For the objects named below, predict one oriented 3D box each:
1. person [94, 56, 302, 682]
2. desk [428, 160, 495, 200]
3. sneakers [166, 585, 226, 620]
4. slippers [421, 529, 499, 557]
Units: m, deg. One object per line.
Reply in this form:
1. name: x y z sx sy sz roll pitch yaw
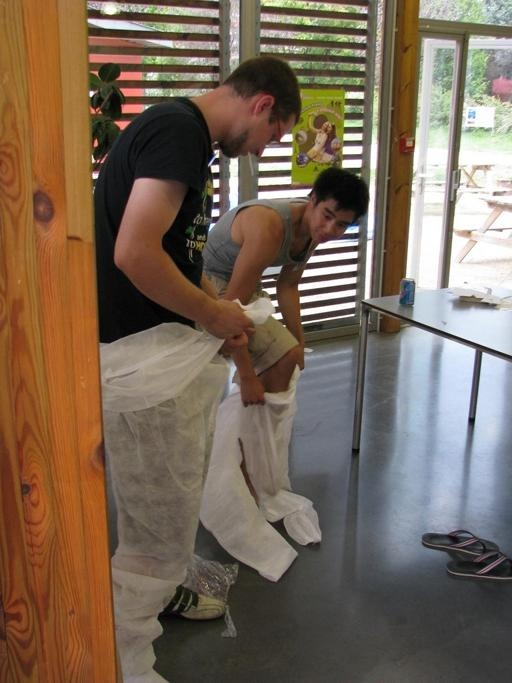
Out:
1. person: -0.223 0.107 1.389 0.360 1.542 0.561 9 18 14
2. desk: 1.797 -1.420 5.041 0.766 0.307 0.184 -11 23 -42
3. sneakers: -0.156 0.776 1.729 0.220 0.083 0.073 0 12 -3
4. slippers: 0.714 0.703 2.024 0.215 0.051 0.095 0 24 6
